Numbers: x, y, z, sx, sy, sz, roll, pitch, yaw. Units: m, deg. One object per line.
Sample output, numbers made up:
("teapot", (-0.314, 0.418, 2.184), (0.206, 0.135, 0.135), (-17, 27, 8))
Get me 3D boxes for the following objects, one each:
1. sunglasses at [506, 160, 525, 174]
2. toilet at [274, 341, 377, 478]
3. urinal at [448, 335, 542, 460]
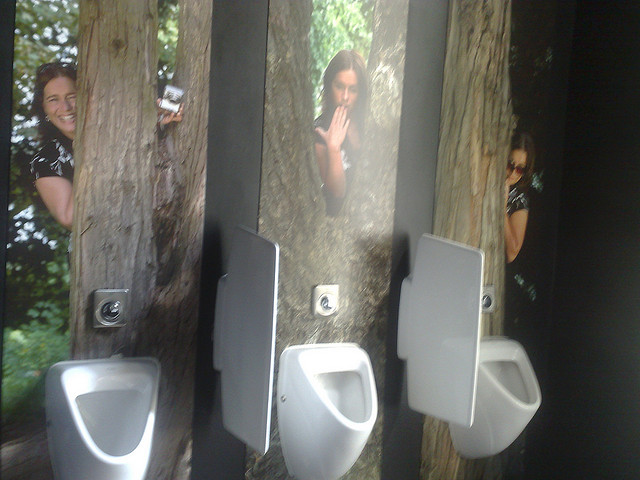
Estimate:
("sunglasses", (1.046, -0.390, 3.256), (0.114, 0.065, 0.005), (1, 9, -23))
("toilet", (0.029, 0.822, 2.847), (0.449, 0.593, 0.412), (2, 9, -10))
("urinal", (0.920, 0.871, 3.138), (0.423, 0.666, 0.371), (-1, 10, -31))
